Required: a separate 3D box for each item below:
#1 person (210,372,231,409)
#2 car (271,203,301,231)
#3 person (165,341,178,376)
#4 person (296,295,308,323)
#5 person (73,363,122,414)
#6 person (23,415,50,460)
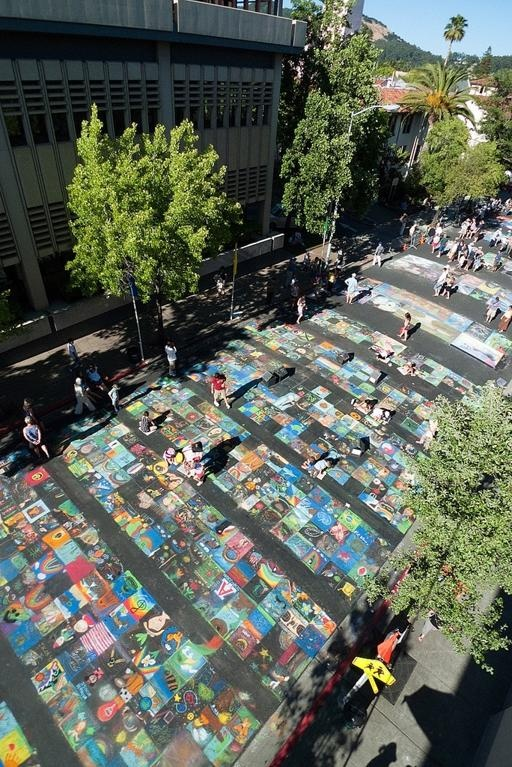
[{"bbox_3d":[-1.298,0.098,17.485,0.750,1.543,1.196,4,32,-5],"label":"person"},{"bbox_3d":[2.077,-13.178,36.150,1.866,1.453,4.565,7,32,0],"label":"car"},{"bbox_3d":[-3.515,-1.184,18.899,0.474,1.711,1.405,0,32,-11],"label":"person"},{"bbox_3d":[2.394,-4.073,23.994,0.511,1.408,1.817,10,32,5],"label":"person"},{"bbox_3d":[-6.114,0.272,17.458,0.727,1.229,1.629,39,-9,-7],"label":"person"},{"bbox_3d":[-7.111,1.650,14.690,0.599,1.708,1.260,-11,36,-26],"label":"person"}]
